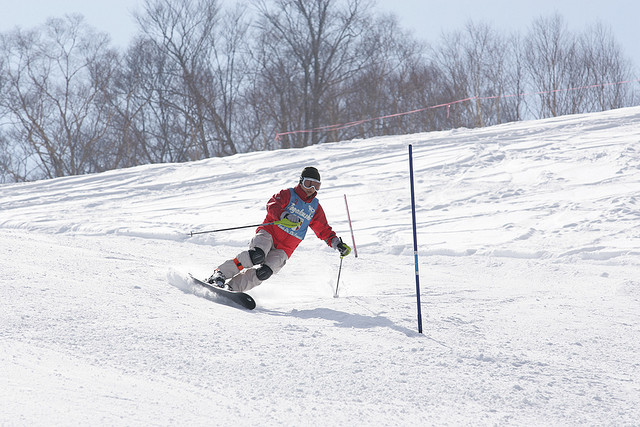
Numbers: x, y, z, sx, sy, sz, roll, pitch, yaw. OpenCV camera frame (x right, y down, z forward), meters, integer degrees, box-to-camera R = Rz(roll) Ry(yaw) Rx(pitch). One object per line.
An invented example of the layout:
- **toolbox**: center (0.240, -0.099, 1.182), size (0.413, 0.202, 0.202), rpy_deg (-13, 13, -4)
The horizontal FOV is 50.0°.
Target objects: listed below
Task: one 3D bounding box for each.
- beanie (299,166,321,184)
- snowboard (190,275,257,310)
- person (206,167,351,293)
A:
- **beanie**: center (-0.167, -0.642, 11.582), size (0.255, 0.272, 0.321), rpy_deg (16, 1, -7)
- **snowboard**: center (-1.589, 1.318, 11.305), size (1.406, 0.176, 0.120), rpy_deg (20, 17, 27)
- **person**: center (-0.572, 0.475, 11.420), size (1.537, 2.681, 1.119), rpy_deg (31, -11, 23)
